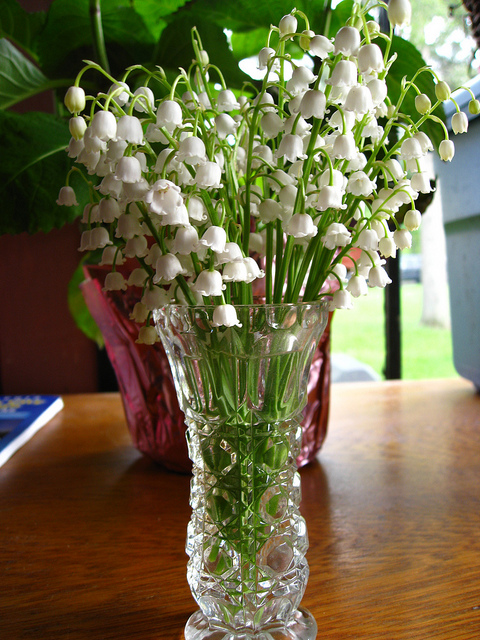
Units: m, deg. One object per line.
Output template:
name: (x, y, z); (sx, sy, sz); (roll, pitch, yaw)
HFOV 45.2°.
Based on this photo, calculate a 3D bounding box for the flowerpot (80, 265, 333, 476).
flowerpot: (-0.014, 0.103, 0.787); (0.269, 0.205, 0.277); (-7, -3, -15)

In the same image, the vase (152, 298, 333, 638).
vase: (0.012, 0.113, 0.463); (0.143, 0.264, 0.109); (-4, 9, -8)
